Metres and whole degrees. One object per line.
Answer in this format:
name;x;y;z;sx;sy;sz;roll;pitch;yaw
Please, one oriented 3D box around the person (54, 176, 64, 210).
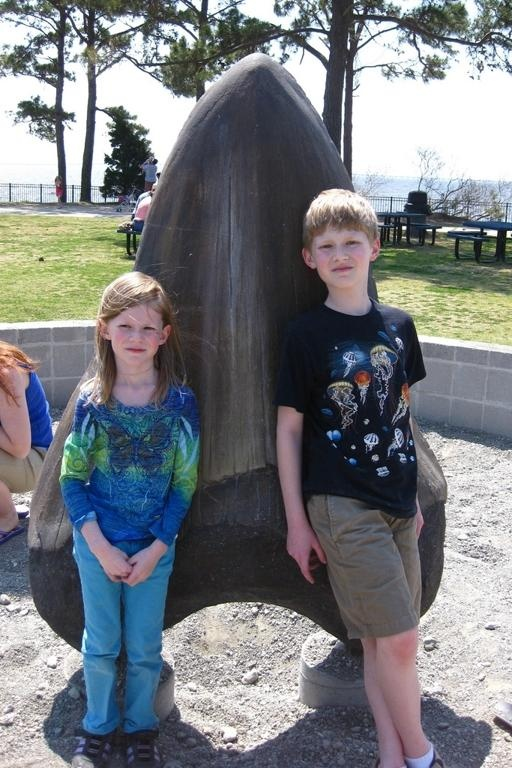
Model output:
person;-5.841;-5.779;21.838;0.246;0.892;1.212;-3;8;-14
